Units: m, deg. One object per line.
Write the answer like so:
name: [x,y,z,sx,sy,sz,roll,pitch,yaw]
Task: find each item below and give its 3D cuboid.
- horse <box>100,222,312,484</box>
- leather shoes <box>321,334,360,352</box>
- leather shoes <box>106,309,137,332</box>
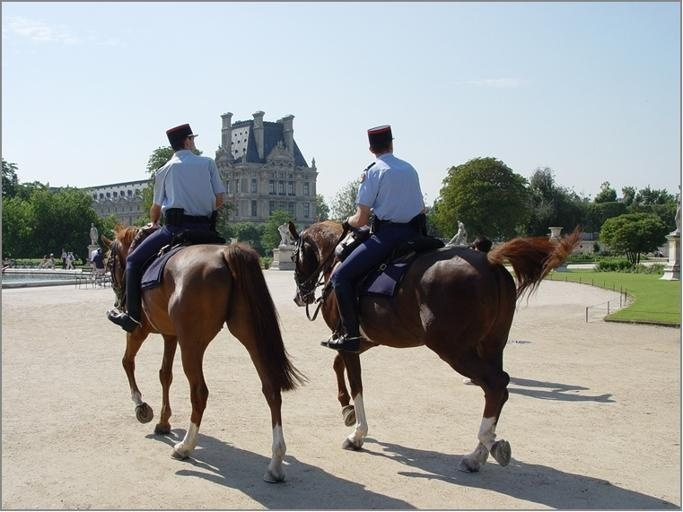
horse: [-1.589,1.121,9.726,2.652,2.562,0.993,5,7,44]
leather shoes: [-0.030,1.055,9.911,0.563,0.231,0.184,4,-4,40]
leather shoes: [-2.774,0.885,10.424,0.296,0.156,0.368,29,0,40]
